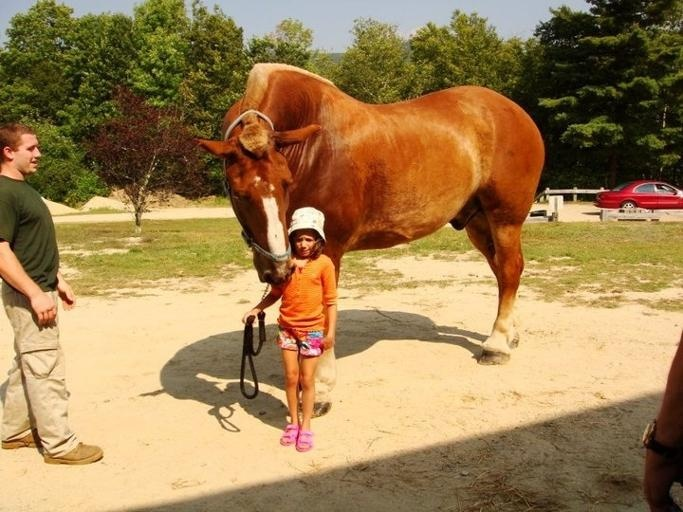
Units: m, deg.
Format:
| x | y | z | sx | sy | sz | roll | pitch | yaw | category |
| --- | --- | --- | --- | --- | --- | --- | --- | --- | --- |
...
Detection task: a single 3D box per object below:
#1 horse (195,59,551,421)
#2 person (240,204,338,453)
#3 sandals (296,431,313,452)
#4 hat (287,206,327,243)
| x | y | z | sx | sy | sz | roll | pitch | yaw | category |
| --- | --- | --- | --- | --- | --- | --- | --- | --- | --- |
| 0.497 | -0.264 | 8.746 | 4.970 | 3.772 | 2.447 | -13 | 20 | -34 | horse |
| -0.436 | 0.756 | 7.310 | 0.754 | 2.475 | 0.528 | 0 | 9 | -2 | person |
| -0.383 | 1.917 | 7.278 | 0.173 | 0.194 | 0.112 | 0 | 9 | -1 | sandals |
| -0.369 | -0.324 | 7.311 | 0.375 | 0.341 | 0.226 | -1 | 9 | -7 | hat |
